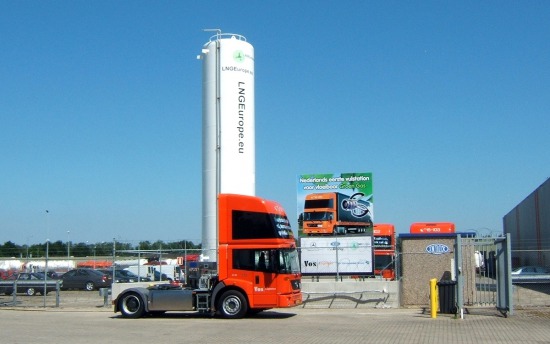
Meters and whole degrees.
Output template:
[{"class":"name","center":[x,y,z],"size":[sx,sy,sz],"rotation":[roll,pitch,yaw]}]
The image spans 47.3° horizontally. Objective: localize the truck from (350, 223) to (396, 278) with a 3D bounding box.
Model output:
[{"class":"truck","center":[7.884,5.551,46.740],"size":[2.484,3.831,7.760],"rotation":[-5,1,12]}]
